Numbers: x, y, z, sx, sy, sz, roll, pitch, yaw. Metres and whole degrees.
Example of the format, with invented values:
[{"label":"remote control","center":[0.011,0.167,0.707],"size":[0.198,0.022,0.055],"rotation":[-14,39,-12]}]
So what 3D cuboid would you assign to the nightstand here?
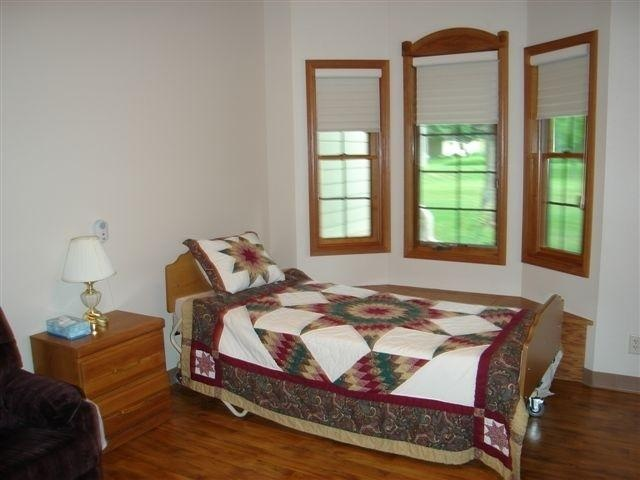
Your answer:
[{"label":"nightstand","center":[-1.486,0.969,3.161],"size":[0.600,0.682,0.719],"rotation":[-1,3,24]}]

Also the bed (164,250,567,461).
[{"label":"bed","center":[0.261,0.677,3.171],"size":[2.080,0.790,1.230],"rotation":[6,18,27]}]

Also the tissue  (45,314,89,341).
[{"label":"tissue ","center":[-1.566,0.546,2.956],"size":[0.238,0.070,0.131],"rotation":[6,10,30]}]
